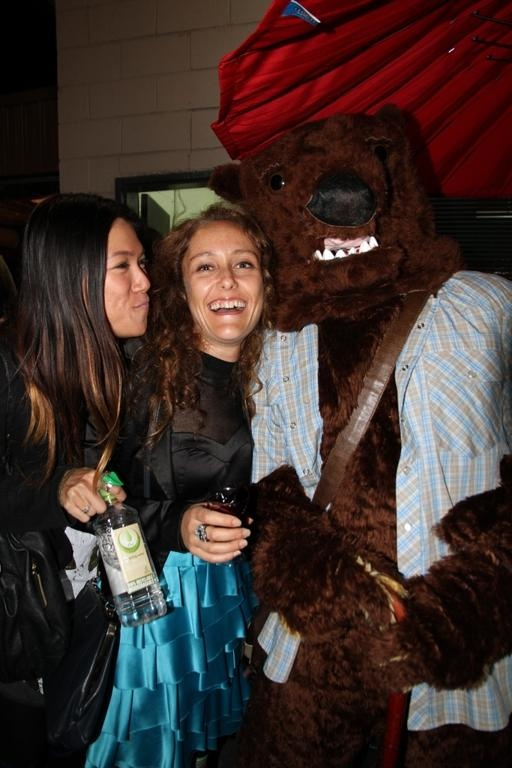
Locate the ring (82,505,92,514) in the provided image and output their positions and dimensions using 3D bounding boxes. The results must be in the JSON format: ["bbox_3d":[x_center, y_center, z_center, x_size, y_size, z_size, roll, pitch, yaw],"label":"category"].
[{"bbox_3d":[-0.400,0.291,1.458,0.015,0.019,0.005,8,11,9],"label":"ring"}]

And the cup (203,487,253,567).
[{"bbox_3d":[-0.067,0.329,1.520,0.133,0.141,0.140,-15,32,10],"label":"cup"}]

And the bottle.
[{"bbox_3d":[-0.295,0.428,1.474,0.139,0.315,0.250,-10,14,-16],"label":"bottle"}]

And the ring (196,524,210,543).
[{"bbox_3d":[-0.126,0.344,1.439,0.030,0.037,0.016,-12,2,29],"label":"ring"}]
